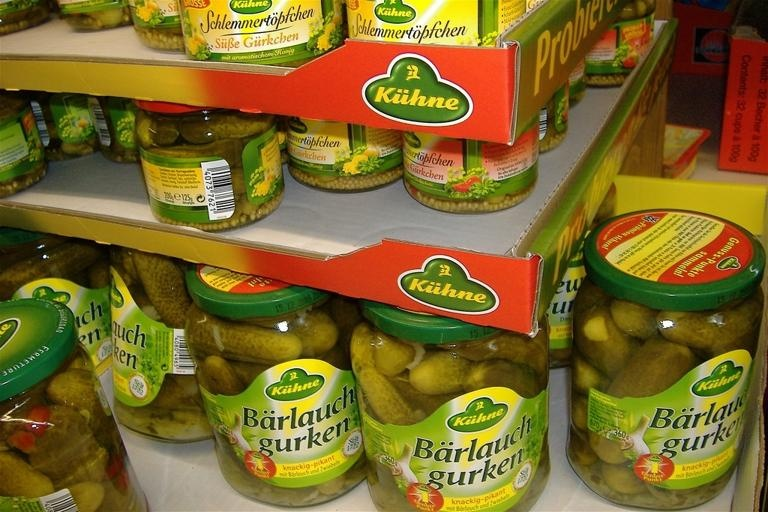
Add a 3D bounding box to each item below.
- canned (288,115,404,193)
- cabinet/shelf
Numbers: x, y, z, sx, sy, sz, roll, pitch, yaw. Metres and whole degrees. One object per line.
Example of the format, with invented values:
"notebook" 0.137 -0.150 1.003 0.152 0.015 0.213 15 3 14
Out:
"canned" -0.082 -0.200 1.174 0.160 0.164 0.162 1 32 1
"cabinet/shelf" 0.032 0.144 1.195 1.209 1.102 0.293 0 25 13
